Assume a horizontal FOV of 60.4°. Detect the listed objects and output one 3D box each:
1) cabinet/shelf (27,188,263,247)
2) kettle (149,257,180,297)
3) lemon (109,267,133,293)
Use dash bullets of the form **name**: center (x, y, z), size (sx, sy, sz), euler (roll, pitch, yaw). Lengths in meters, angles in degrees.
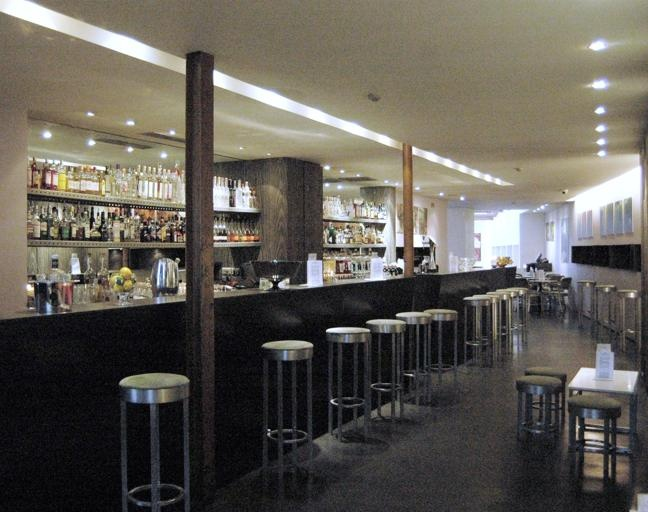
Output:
- **cabinet/shelf**: center (-1.926, -0.382, 6.379), size (0.827, 0.542, 3.096), euler (1, 2, 29)
- **kettle**: center (-1.173, 0.149, 4.218), size (0.163, 0.260, 0.235), euler (-6, 18, -45)
- **lemon**: center (-1.509, 0.185, 4.184), size (0.146, 0.099, 0.266), euler (-3, 17, -10)
